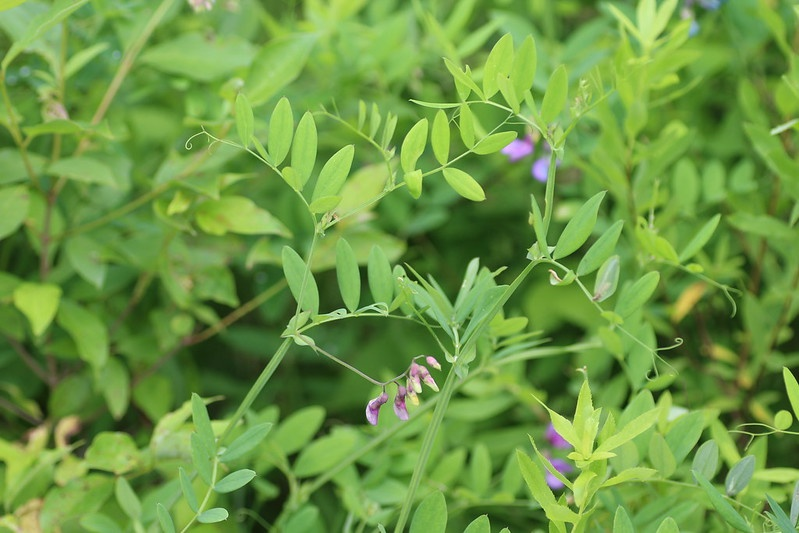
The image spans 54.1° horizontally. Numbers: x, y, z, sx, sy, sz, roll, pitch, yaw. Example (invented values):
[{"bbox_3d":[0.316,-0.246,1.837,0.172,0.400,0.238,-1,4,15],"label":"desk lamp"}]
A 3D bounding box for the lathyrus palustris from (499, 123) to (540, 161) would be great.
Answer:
[{"bbox_3d":[0.207,-0.212,1.352,0.093,0.025,0.054,-30,44,-18],"label":"lathyrus palustris"}]

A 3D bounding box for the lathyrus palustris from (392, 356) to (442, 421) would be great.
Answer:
[{"bbox_3d":[0.014,0.140,0.955,0.024,0.080,0.084,24,96,30],"label":"lathyrus palustris"}]
